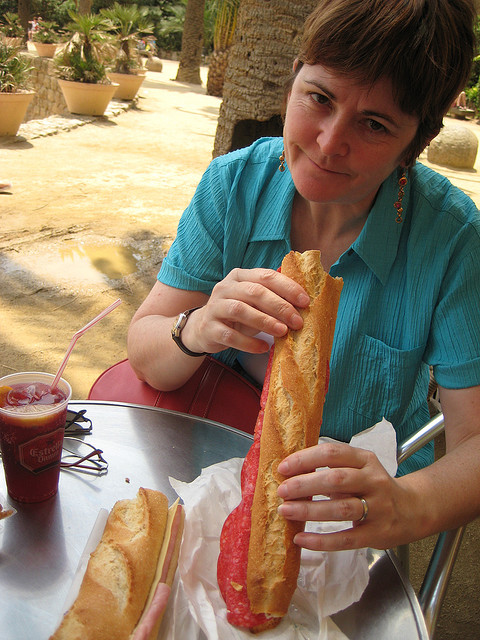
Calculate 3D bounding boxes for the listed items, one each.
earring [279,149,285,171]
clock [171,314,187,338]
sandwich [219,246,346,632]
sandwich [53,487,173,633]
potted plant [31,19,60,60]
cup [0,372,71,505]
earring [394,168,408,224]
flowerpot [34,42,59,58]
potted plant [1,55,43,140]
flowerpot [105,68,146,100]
[{"bbox_3d":[0.140,-0.512,1.742,0.017,0.047,0.038,4,28,-10],"label":"earring"},{"bbox_3d":[-0.169,0.017,1.455,0.023,0.060,0.043,21,8,-29],"label":"clock"},{"bbox_3d":[0.150,0.202,1.095,0.183,0.186,0.717,17,64,-9],"label":"sandwich"},{"bbox_3d":[-0.201,0.417,0.900,0.110,0.072,0.351,-1,25,9],"label":"sandwich"},{"bbox_3d":[-6.494,-9.221,17.719,0.769,0.967,0.755,22,30,24],"label":"potted plant"},{"bbox_3d":[-0.413,0.229,1.075,0.129,0.244,0.169,0,29,-18],"label":"cup"},{"bbox_3d":[0.479,-0.361,1.566,0.030,0.148,0.063,7,28,-5],"label":"earring"},{"bbox_3d":[-6.374,-8.818,17.507,0.685,0.404,0.821,-1,28,-19],"label":"flowerpot"},{"bbox_3d":[-4.089,-4.102,9.818,0.494,1.300,1.697,2,28,-15],"label":"potted plant"},{"bbox_3d":[-2.978,-6.119,13.922,1.028,0.572,0.953,5,28,-9],"label":"flowerpot"}]
